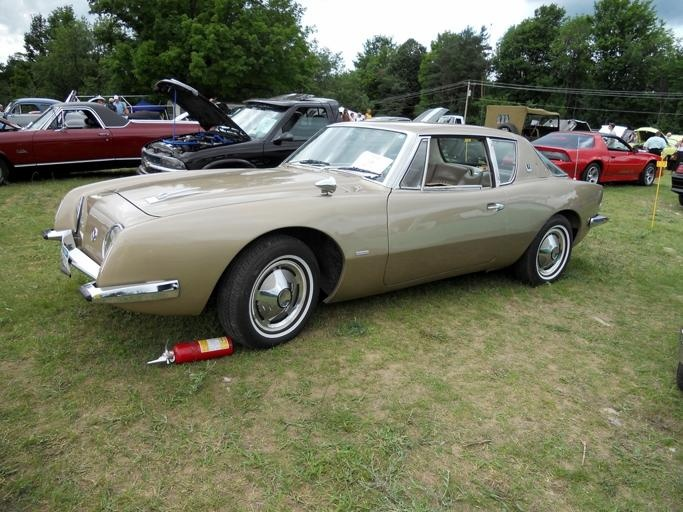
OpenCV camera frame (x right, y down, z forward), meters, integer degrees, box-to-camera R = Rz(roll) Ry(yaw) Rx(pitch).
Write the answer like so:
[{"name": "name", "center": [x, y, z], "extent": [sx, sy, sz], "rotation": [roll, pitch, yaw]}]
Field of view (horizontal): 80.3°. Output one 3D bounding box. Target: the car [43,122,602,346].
[{"name": "car", "center": [0.369, -0.484, 4.414], "extent": [6.175, 1.862, 1.687], "rotation": [-9, 20, -28]}]

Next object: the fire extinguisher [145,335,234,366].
[{"name": "fire extinguisher", "center": [-1.150, 0.727, 3.082], "extent": [0.620, 0.138, 0.110], "rotation": [-7, 19, -21]}]

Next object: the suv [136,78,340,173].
[{"name": "suv", "center": [-1.821, -2.203, 7.548], "extent": [3.312, 1.758, 1.797], "rotation": [-12, 27, -30]}]
